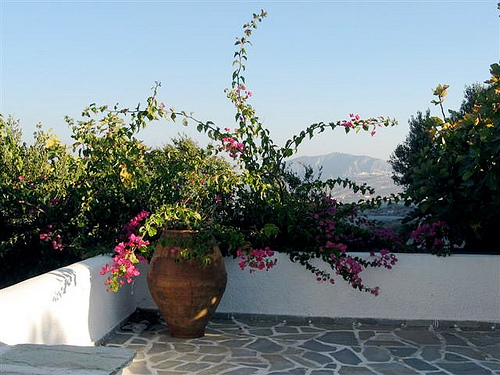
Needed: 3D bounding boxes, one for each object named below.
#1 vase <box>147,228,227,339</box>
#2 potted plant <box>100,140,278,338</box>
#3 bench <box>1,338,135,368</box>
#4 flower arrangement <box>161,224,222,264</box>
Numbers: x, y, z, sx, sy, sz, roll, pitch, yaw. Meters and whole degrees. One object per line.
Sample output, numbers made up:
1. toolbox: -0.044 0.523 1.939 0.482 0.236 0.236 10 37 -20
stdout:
1. vase: -0.787 1.174 6.780 1.087 1.414 1.106 -1 3 -26
2. potted plant: -0.715 0.695 6.446 1.989 2.057 1.383 4 6 36
3. bench: -1.541 1.410 4.454 1.071 0.099 0.434 -1 10 -10
4. flower arrangement: -0.707 0.688 6.339 0.686 0.342 0.365 0 10 -5
